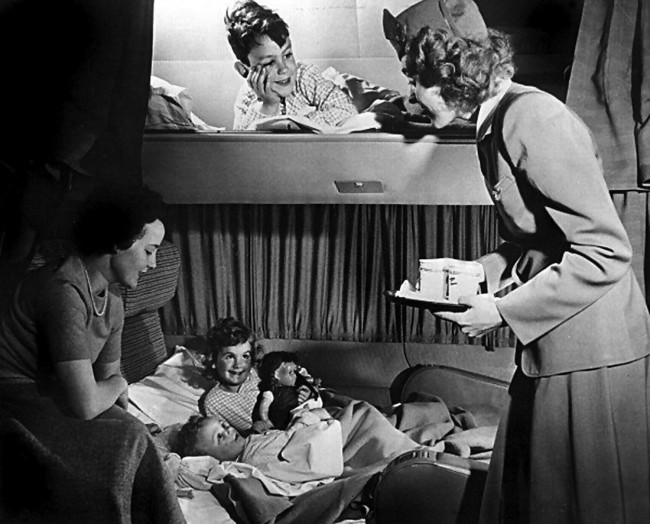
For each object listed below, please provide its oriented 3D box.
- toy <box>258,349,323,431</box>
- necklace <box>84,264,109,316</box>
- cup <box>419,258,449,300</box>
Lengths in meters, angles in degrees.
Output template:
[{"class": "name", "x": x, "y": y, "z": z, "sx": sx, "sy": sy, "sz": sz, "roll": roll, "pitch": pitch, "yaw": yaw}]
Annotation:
[{"class": "toy", "x": -0.156, "y": 0.497, "z": 2.278, "sx": 0.225, "sy": 0.304, "sz": 0.125, "roll": 1, "pitch": -10, "yaw": 6}, {"class": "necklace", "x": -0.762, "y": 0.085, "z": 1.955, "sx": 0.099, "sy": 0.149, "sz": 0.034, "roll": 6, "pitch": -1, "yaw": 7}, {"class": "cup", "x": 0.369, "y": 0.068, "z": 2.169, "sx": 0.119, "sy": 0.171, "sz": 0.127, "roll": 0, "pitch": -2, "yaw": 0}]
